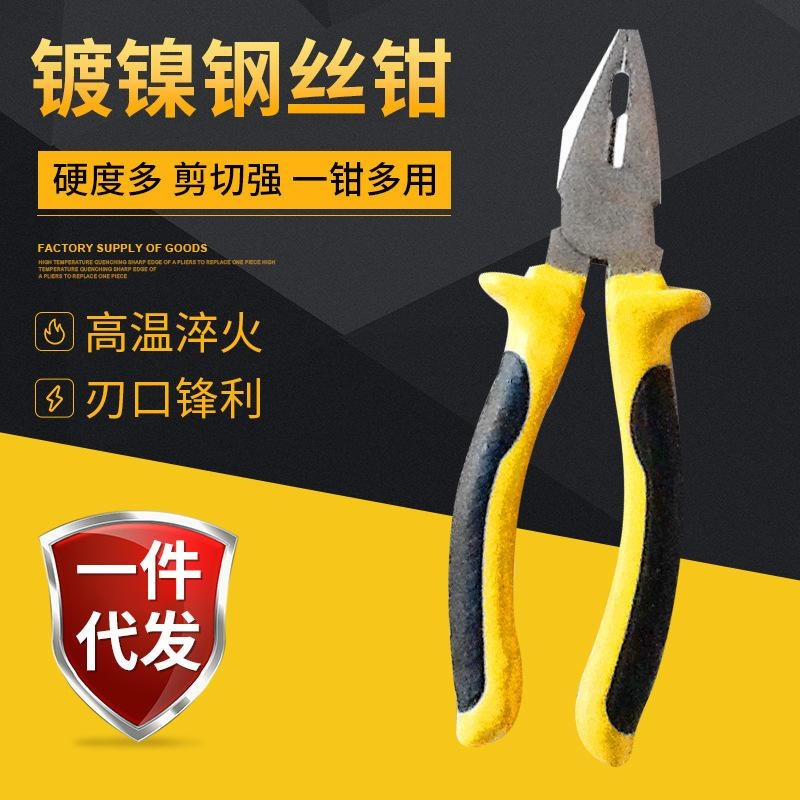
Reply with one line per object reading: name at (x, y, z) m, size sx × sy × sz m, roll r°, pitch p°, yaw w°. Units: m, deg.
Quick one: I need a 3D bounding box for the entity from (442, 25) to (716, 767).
entity at (0.188, -0.008, 1.088) m, size 0.234 × 0.758 × 0.145 m, roll 4°, pitch 5°, yaw 12°
